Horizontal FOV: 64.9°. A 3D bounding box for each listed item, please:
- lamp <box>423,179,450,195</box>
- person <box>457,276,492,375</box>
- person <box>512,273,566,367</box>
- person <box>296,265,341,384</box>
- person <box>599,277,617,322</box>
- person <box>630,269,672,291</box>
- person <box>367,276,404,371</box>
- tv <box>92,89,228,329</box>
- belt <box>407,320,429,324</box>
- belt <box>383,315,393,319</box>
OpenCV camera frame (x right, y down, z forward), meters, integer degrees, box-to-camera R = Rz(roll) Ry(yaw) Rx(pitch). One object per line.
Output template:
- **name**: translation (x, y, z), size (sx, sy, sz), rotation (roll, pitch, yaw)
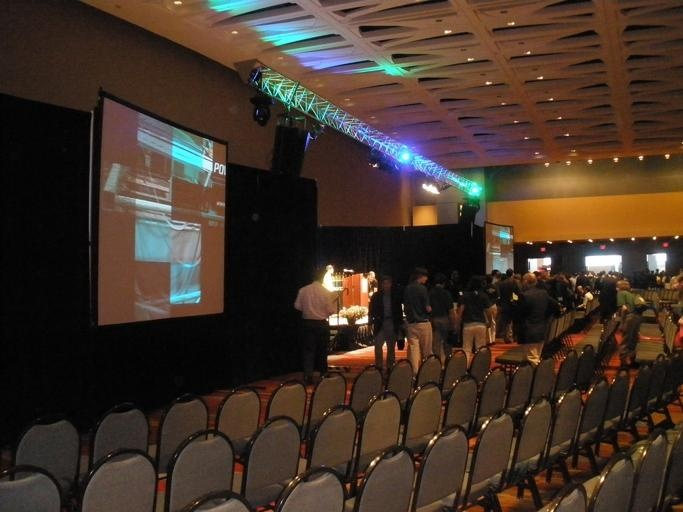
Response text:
- **lamp**: translation (3.585, -2.680, 19.734), size (1.040, 0.453, 0.767), rotation (2, 0, 33)
- **person**: translation (2.367, 1.153, 9.499), size (0.547, 1.745, 0.471), rotation (1, 13, 20)
- **person**: translation (3.101, 1.087, 8.490), size (0.705, 1.594, 0.502), rotation (-3, 12, 0)
- **person**: translation (-0.419, 1.093, 8.823), size (0.563, 1.779, 0.518), rotation (0, 1, -28)
- **person**: translation (7.626, 1.254, 15.267), size (0.401, 1.335, 1.383), rotation (1, 1, 25)
- **person**: translation (11.766, 0.885, 20.459), size (0.883, 0.473, 1.200), rotation (0, -2, -27)
- **person**: translation (0.791, 1.173, 9.209), size (0.580, 1.686, 1.054), rotation (1, 1, 7)
- **tv**: translation (-2.244, -0.474, 7.006), size (0.211, 2.590, 2.458), rotation (-1, -3, 22)
- **belt**: translation (1.235, 1.024, 8.458), size (0.314, 0.067, 0.097), rotation (1, 1, 9)
- **belt**: translation (0.792, 1.025, 8.978), size (0.123, 0.070, 0.014), rotation (1, 1, 7)
